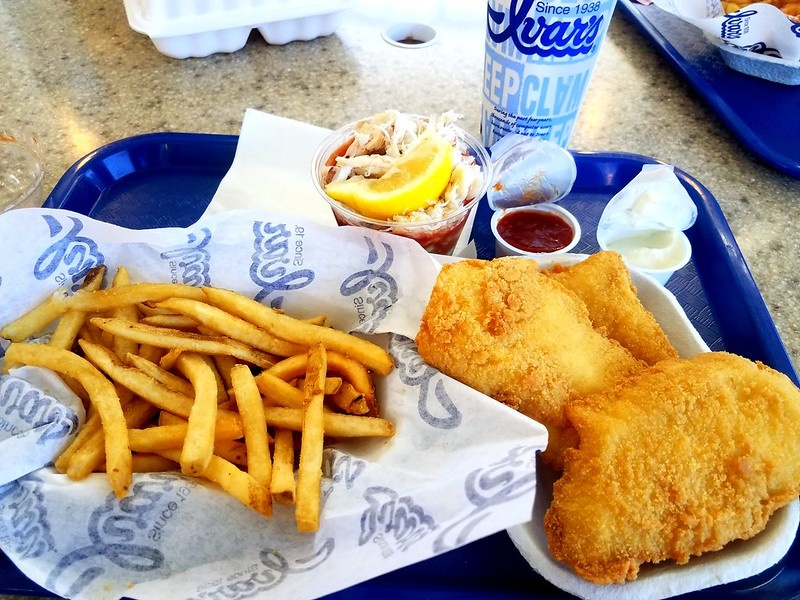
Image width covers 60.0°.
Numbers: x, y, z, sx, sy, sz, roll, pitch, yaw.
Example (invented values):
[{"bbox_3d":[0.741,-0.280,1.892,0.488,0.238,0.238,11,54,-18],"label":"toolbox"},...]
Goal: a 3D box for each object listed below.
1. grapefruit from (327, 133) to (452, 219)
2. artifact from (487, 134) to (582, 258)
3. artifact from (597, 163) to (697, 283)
[{"bbox_3d":[-0.014,-0.390,2.247,0.308,0.116,0.301,-24,27,20],"label":"grapefruit"},{"bbox_3d":[0.462,-0.390,2.505,0.372,0.180,0.446,-3,76,-5],"label":"artifact"},{"bbox_3d":[0.870,-0.232,2.513,0.309,0.279,0.402,6,61,8],"label":"artifact"}]
